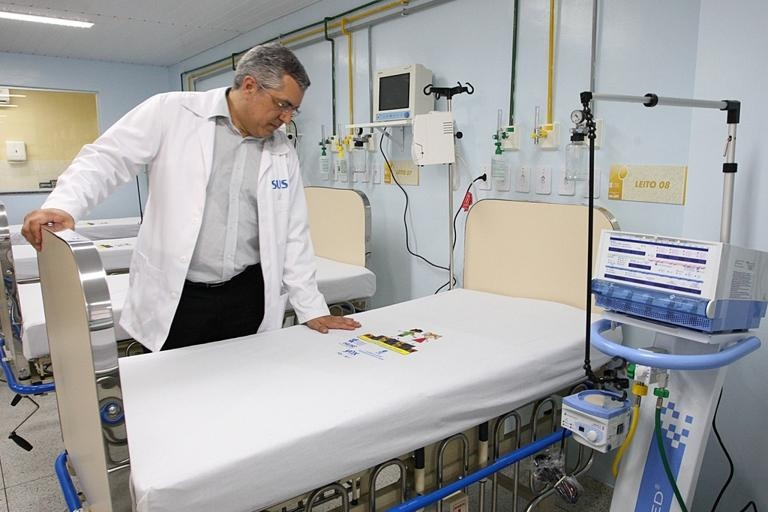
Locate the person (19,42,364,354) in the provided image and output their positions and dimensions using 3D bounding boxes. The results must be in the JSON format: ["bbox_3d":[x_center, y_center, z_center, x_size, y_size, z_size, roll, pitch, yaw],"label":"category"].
[{"bbox_3d":[-0.800,-0.241,2.343,1.171,1.373,0.472,-6,11,-23],"label":"person"}]

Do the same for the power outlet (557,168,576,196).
[{"bbox_3d":[1.076,-0.431,3.035,0.020,0.186,0.134,-12,18,-33],"label":"power outlet"}]

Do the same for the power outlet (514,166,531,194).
[{"bbox_3d":[0.872,-0.475,3.245,0.024,0.163,0.102,-10,13,-40],"label":"power outlet"}]

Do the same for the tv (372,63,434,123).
[{"bbox_3d":[0.156,-1.151,3.724,0.258,0.390,0.453,-7,13,-40],"label":"tv"}]

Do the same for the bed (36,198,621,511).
[{"bbox_3d":[-0.046,0.206,2.718,2.261,1.402,1.237,-7,10,-36],"label":"bed"}]

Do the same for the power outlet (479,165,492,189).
[{"bbox_3d":[0.682,-0.519,3.448,0.018,0.174,0.098,-9,12,-37],"label":"power outlet"}]
